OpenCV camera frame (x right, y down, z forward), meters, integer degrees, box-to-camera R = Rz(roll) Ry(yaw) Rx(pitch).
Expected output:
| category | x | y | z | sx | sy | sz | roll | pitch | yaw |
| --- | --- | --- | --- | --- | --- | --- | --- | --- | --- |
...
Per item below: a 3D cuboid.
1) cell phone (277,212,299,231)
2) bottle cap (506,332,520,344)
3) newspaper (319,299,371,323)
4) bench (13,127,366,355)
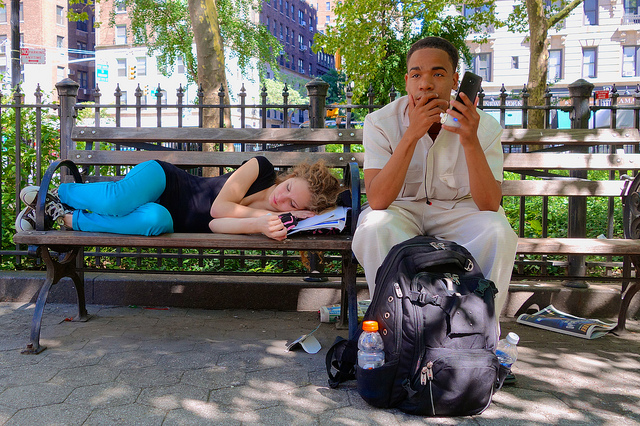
| category | x | y | z | sx | sy | sz | roll | pitch | yaw |
| --- | --- | --- | --- | --- | --- | --- | --- | --- | --- |
| cell phone | -0.266 | 0.073 | 4.698 | 0.129 | 0.138 | 0.096 | -1 | 7 | -20 |
| bottle cap | 1.455 | 0.940 | 4.289 | 0.103 | 0.053 | 0.102 | 21 | 9 | 35 |
| newspaper | 0.184 | 0.936 | 5.428 | 0.570 | 0.163 | 0.259 | -5 | 3 | 0 |
| bench | -1.069 | 0.121 | 5.432 | 2.966 | 1.924 | 2.037 | 1 | 6 | 4 |
